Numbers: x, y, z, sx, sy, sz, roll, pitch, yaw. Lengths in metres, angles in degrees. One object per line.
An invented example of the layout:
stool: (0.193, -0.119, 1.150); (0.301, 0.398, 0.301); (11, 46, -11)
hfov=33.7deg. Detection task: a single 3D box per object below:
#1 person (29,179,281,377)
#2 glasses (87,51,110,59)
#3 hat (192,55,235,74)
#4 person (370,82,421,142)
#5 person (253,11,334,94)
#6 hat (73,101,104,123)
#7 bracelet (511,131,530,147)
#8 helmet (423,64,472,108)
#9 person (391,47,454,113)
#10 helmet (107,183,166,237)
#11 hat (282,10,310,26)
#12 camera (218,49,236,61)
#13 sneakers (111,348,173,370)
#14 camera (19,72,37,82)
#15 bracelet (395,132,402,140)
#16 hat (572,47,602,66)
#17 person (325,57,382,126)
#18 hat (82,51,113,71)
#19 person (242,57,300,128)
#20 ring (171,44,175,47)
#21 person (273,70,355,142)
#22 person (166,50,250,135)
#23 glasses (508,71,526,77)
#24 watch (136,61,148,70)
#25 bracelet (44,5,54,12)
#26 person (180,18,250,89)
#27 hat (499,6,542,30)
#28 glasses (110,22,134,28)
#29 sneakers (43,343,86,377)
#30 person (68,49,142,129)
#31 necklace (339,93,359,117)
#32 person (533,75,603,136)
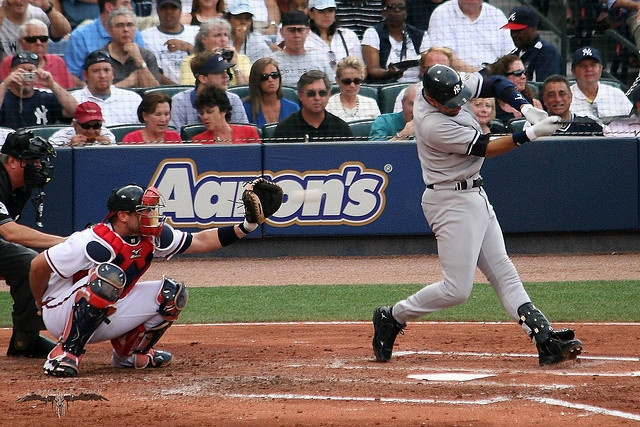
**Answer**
person: (-1.274, 0.519, 8.878); (2.325, 1.335, 1.196); (-2, -8, -15)
glasses: (-2.560, -1.844, 12.333); (0.170, 0.052, 0.160); (9, 19, 28)
hat: (-1.247, -1.749, 12.288); (0.472, 0.240, 0.267); (-3, 15, -6)
person: (1.012, -1.176, 12.238); (0.775, 0.708, 0.544); (1, 30, -8)
person: (-0.317, -1.910, 12.714); (1.533, 1.049, 0.690); (-1, 3, -9)
hat: (-2.577, -1.140, 11.895); (0.225, 0.146, 0.292); (-3, 10, -28)
bracelet: (1.616, -0.623, 8.680); (0.164, 0.068, 0.103); (-14, -6, 33)
helmet: (1.029, -1.071, 8.783); (0.456, 0.198, 0.310); (30, 41, 14)
person: (1.259, -1.642, 12.507); (0.734, 0.496, 0.788); (-4, 47, 18)
helmet: (-1.526, -0.044, 8.814); (0.546, 0.363, 0.347); (6, 4, 9)
hat: (-0.287, -2.384, 12.875); (0.376, 0.153, 0.442); (0, 5, -5)
camera: (-1.075, -1.869, 12.403); (0.180, 0.108, 0.158); (-3, 11, 22)
sneakers: (-1.487, 1.229, 8.986); (0.463, 0.152, 0.183); (-2, 8, -13)
camera: (-3.281, -1.548, 12.057); (0.201, 0.104, 0.101); (-1, 0, -18)
bracelet: (0.903, -0.901, 12.201); (0.063, 0.075, 0.085); (15, -35, -20)
hat: (3.197, -1.879, 12.738); (0.254, 0.146, 0.299); (-4, -24, 6)
person: (0.374, -1.418, 12.463); (1.053, 0.782, 0.479); (-4, 20, -14)
hat: (-2.607, -1.798, 12.384); (0.324, 0.160, 0.293); (-2, -6, -27)
person: (-0.606, -1.382, 12.437); (1.004, 0.756, 0.440); (-2, 4, -16)
ring: (-1.801, -2.086, 13.063); (0.048, 0.027, 0.010); (1, -2, -8)
person: (-0.047, -1.216, 12.182); (1.023, 0.677, 0.486); (-3, 12, -12)
person: (-1.380, -1.309, 12.422); (0.930, 0.968, 0.612); (4, 6, -18)
glasses: (2.264, -1.618, 12.194); (0.111, 0.027, 0.104); (-3, -4, -33)
watch: (-2.123, -1.786, 12.706); (0.097, 0.059, 0.096); (5, -5, -45)
bracelet: (-3.444, -2.632, 13.558); (0.116, 0.102, 0.044); (-25, -52, 34)
person: (-1.221, -1.976, 12.909); (0.823, 0.887, 0.957); (-5, 10, -19)
hat: (2.508, -2.454, 13.223); (0.470, 0.189, 0.277); (-8, 18, -17)
glasses: (-2.335, -2.264, 12.633); (0.249, 0.053, 0.081); (-3, 14, -7)
sneakers: (-2.087, 1.233, 8.665); (0.176, 0.174, 0.416); (11, -3, -18)
person: (-2.460, -1.437, 12.365); (1.208, 0.750, 0.531); (-4, 9, -23)
necklace: (0.359, -1.283, 12.450); (0.197, 0.248, 0.212); (-3, -3, -4)
person: (2.756, -1.180, 12.202); (1.148, 0.711, 0.462); (-5, 1, 3)
